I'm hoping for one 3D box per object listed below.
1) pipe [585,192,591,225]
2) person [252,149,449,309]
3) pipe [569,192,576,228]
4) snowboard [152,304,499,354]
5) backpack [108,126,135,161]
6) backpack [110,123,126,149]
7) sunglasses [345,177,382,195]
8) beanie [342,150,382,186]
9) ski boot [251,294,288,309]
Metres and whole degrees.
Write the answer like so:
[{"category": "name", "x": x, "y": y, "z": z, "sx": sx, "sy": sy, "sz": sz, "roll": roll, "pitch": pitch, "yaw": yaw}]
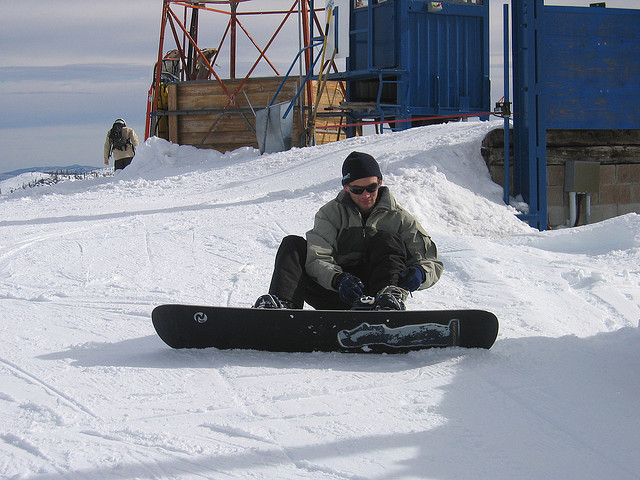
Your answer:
[{"category": "pipe", "x": 3.539, "y": -0.420, "z": 11.537, "sx": 0.074, "sy": 0.422, "sz": 0.086, "roll": 2, "pitch": 14, "yaw": 16}, {"category": "person", "x": 0.326, "y": 0.011, "z": 6.847, "sx": 1.133, "sy": 1.344, "sz": 1.518, "roll": 1, "pitch": -1, "yaw": 21}, {"category": "pipe", "x": 3.348, "y": -0.405, "z": 11.553, "sx": 0.096, "sy": 0.454, "sz": 0.096, "roll": 2, "pitch": 14, "yaw": 14}, {"category": "snowboard", "x": 0.034, "y": 0.665, "z": 6.410, "sx": 2.552, "sy": 0.489, "sz": 0.140, "roll": 2, "pitch": 16, "yaw": 1}, {"category": "backpack", "x": -4.307, "y": -2.111, "z": 18.606, "sx": 0.540, "sy": 0.295, "sz": 0.737, "roll": 1, "pitch": -13, "yaw": 7}, {"category": "backpack", "x": -4.324, "y": -2.179, "z": 18.320, "sx": 0.463, "sy": 0.555, "sz": 0.211, "roll": 9, "pitch": 17, "yaw": 39}, {"category": "sunglasses", "x": 0.331, "y": -0.416, "z": 6.764, "sx": 0.274, "sy": 0.116, "sz": 0.083, "roll": -1, "pitch": 13, "yaw": 1}, {"category": "beanie", "x": 0.307, "y": -0.558, "z": 6.805, "sx": 0.267, "sy": 0.231, "sz": 0.252, "roll": 3, "pitch": 38, "yaw": 34}, {"category": "ski boot", "x": -0.382, "y": 0.458, "z": 6.535, "sx": 0.099, "sy": 0.117, "sz": 0.282, "roll": 2, "pitch": 5, "yaw": 37}]
